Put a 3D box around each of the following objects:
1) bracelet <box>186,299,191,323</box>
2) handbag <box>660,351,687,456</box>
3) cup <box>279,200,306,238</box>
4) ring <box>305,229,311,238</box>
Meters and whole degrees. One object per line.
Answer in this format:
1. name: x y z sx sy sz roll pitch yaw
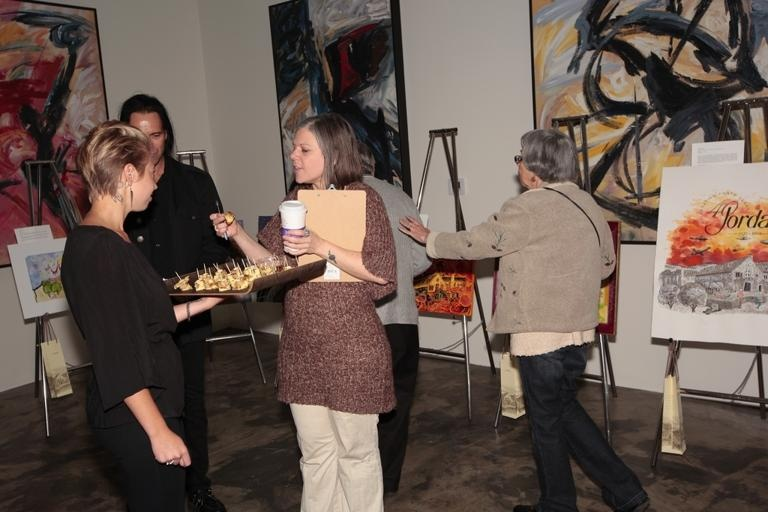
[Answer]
1. bracelet: -0.978 0.282 2.844 0.023 0.087 0.062 2 6 -17
2. handbag: 2.003 1.034 3.948 0.135 0.746 0.116 4 10 34
3. cup: -0.436 -0.189 2.795 0.161 0.204 0.148 1 16 0
4. ring: -0.370 -0.108 2.800 0.032 0.031 0.008 -5 7 -35
